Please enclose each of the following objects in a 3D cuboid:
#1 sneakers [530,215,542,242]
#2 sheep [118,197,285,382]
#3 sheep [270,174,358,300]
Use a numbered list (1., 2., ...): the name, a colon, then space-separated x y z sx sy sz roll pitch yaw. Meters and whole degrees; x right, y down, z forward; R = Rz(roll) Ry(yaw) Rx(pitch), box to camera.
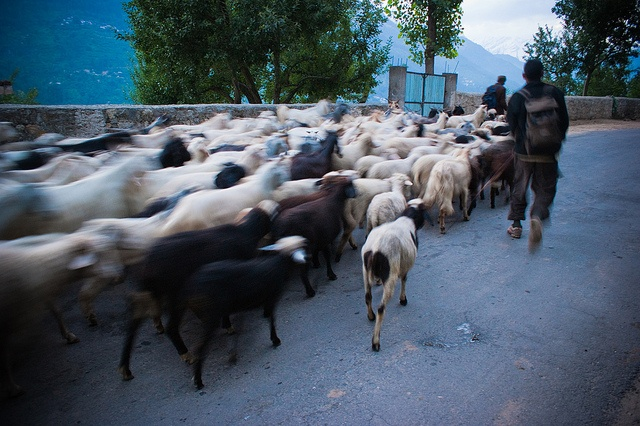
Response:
1. sneakers: 3.478 0.252 6.632 0.172 0.448 0.202 -3 4 18
2. sheep: -1.340 0.829 5.351 0.663 1.580 2.595 5 15 40
3. sheep: -0.053 0.291 6.369 0.645 1.507 2.081 7 21 40
